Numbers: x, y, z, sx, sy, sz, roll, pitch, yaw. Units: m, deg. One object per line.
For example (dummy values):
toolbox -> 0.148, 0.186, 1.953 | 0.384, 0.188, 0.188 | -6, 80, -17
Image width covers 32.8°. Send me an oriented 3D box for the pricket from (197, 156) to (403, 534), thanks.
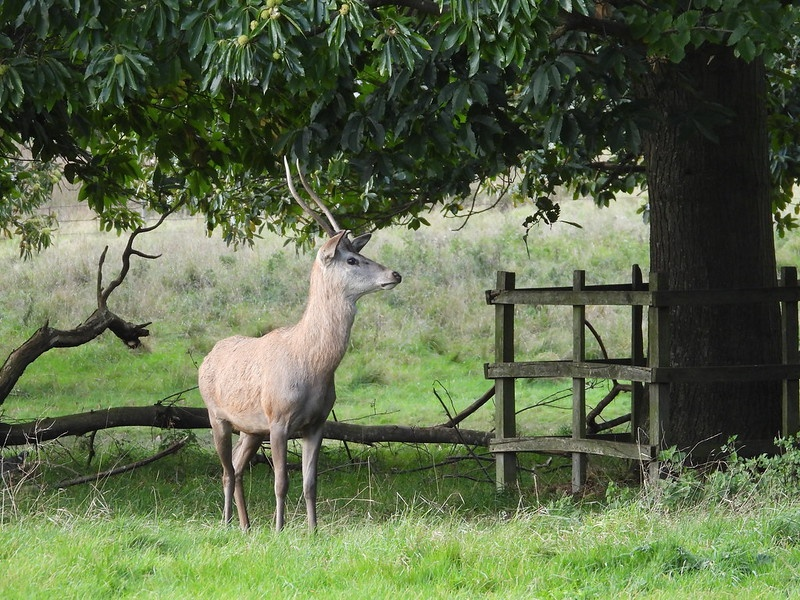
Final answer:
pricket -> -0.984, 0.752, 12.553 | 1.919, 2.674, 0.788 | -4, -3, 39
